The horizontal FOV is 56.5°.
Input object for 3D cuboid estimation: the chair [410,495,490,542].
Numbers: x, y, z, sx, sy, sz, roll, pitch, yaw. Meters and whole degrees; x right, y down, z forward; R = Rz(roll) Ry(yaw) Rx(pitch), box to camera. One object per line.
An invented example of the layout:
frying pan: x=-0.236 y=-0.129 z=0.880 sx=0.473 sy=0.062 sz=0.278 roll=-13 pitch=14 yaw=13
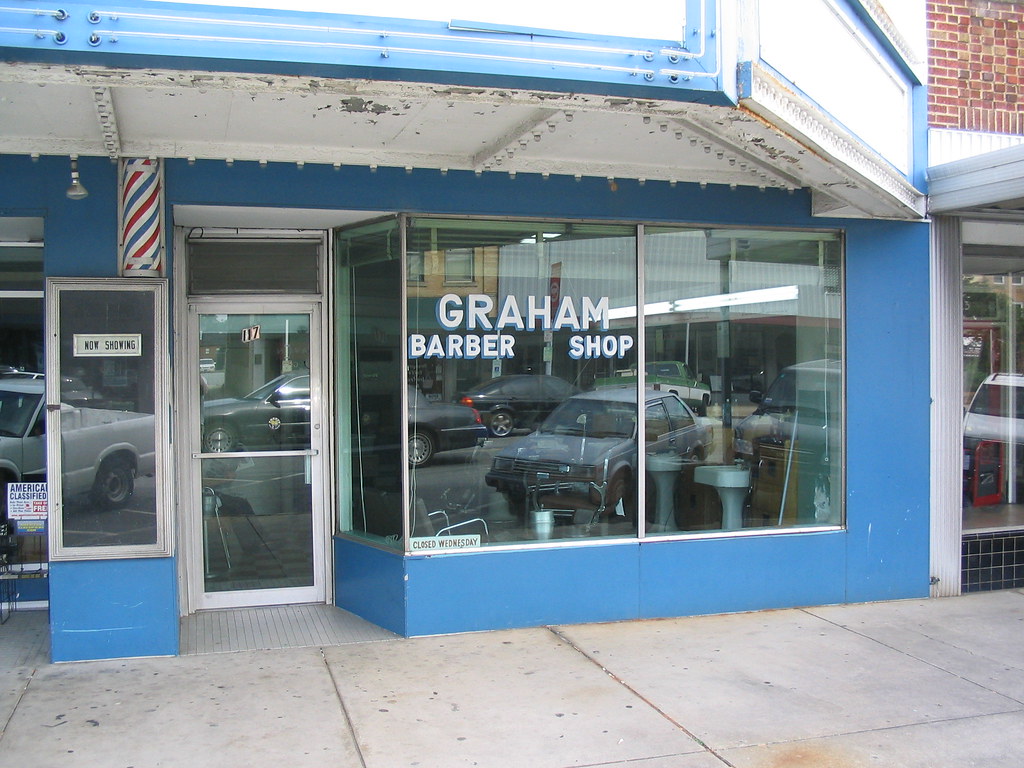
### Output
chair: x=-0.528 y=1.056 z=7.859 sx=0.437 sy=0.277 sz=0.438 roll=2 pitch=-4 yaw=-5

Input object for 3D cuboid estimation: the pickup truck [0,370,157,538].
pickup truck: x=-3.064 y=0.544 z=7.651 sx=1.656 sy=0.959 sz=0.992 roll=2 pitch=-2 yaw=-41
